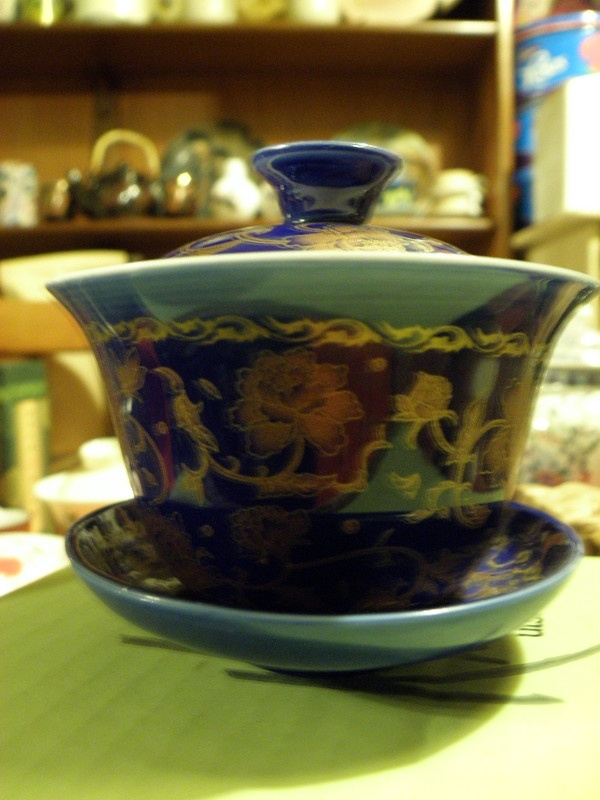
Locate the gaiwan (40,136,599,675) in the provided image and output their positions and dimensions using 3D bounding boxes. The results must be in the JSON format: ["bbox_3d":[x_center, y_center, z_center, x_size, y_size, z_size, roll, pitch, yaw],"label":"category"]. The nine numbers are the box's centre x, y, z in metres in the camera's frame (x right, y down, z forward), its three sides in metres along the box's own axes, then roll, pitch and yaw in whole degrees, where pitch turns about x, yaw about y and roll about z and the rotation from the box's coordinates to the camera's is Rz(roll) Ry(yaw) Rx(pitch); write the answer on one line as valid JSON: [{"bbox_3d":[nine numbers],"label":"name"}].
[{"bbox_3d":[0.004,0.009,0.439,0.263,0.180,0.240,-2,-7,22],"label":"gaiwan"}]

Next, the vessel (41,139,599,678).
[{"bbox_3d":[0.009,0.010,0.449,0.258,0.180,0.245,-3,-7,29],"label":"vessel"}]
